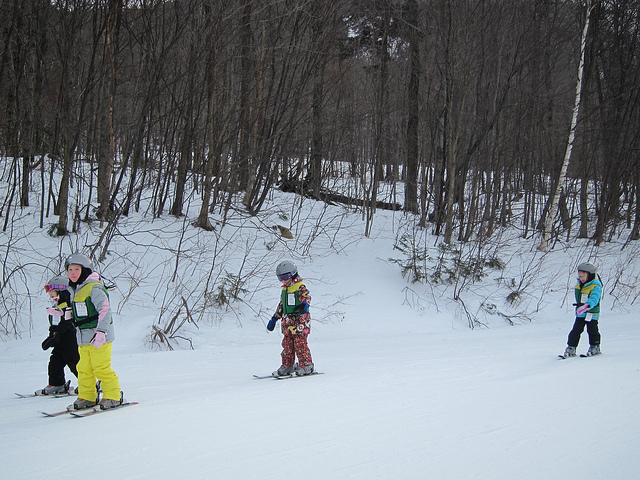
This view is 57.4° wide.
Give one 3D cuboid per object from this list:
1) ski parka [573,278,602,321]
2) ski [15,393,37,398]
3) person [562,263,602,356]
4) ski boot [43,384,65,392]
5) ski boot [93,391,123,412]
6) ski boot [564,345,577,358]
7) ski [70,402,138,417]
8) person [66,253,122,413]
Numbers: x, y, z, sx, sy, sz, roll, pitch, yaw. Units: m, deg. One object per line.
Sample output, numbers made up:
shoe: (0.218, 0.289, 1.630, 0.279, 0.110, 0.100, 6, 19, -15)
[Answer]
ski parka: (5.644, 1.264, 12.289, 0.359, 0.721, 1.257, 6, 4, 9)
ski: (-4.956, 2.588, 9.763, 0.448, 0.016, 0.191, 1, 4, 22)
person: (5.391, 1.415, 11.937, 0.703, 1.859, 0.621, 1, 3, 20)
ski boot: (-4.506, 2.494, 9.876, 0.321, 0.115, 0.081, -2, 3, -24)
ski boot: (-3.292, 2.519, 9.050, 0.137, 0.192, 0.424, -1, -3, 38)
ski boot: (5.044, 2.253, 11.854, 0.234, 0.277, 0.164, 2, -4, -30)
ski: (-3.356, 2.598, 8.961, 0.071, 0.044, 0.670, 21, 19, 38)
person: (-3.577, 1.408, 9.130, 0.641, 2.389, 0.761, -3, 4, -44)
